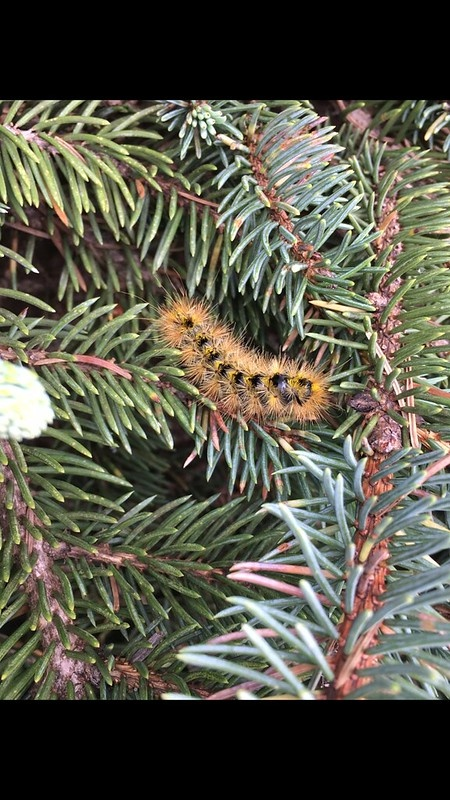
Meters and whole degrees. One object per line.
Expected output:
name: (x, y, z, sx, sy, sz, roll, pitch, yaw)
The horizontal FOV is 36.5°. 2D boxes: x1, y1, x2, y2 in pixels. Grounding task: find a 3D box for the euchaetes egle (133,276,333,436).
euchaetes egle: (-0.003, -0.045, 1.046, 0.103, 0.151, 0.307, -51, 50, 5)
